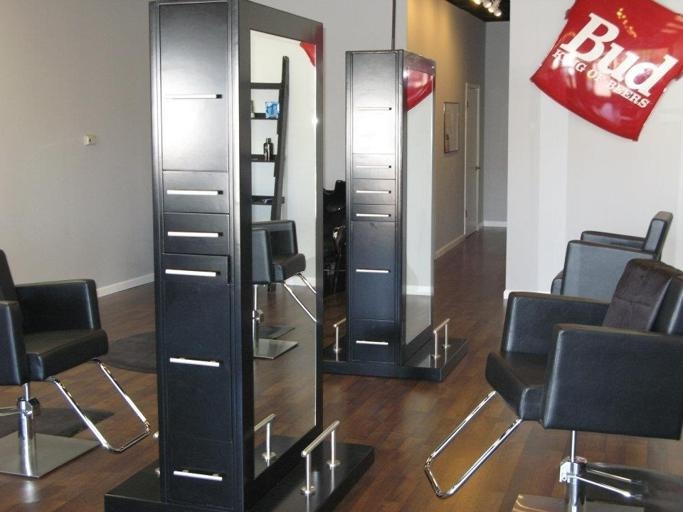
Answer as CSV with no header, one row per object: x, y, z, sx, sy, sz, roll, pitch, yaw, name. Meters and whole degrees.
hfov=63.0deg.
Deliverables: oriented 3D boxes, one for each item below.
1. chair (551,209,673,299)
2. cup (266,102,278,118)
1.969,0.035,4.267,0.824,0.914,0.750,2,3,23,chair
-0.301,-0.633,2.401,0.039,0.070,0.074,3,10,17,cup
